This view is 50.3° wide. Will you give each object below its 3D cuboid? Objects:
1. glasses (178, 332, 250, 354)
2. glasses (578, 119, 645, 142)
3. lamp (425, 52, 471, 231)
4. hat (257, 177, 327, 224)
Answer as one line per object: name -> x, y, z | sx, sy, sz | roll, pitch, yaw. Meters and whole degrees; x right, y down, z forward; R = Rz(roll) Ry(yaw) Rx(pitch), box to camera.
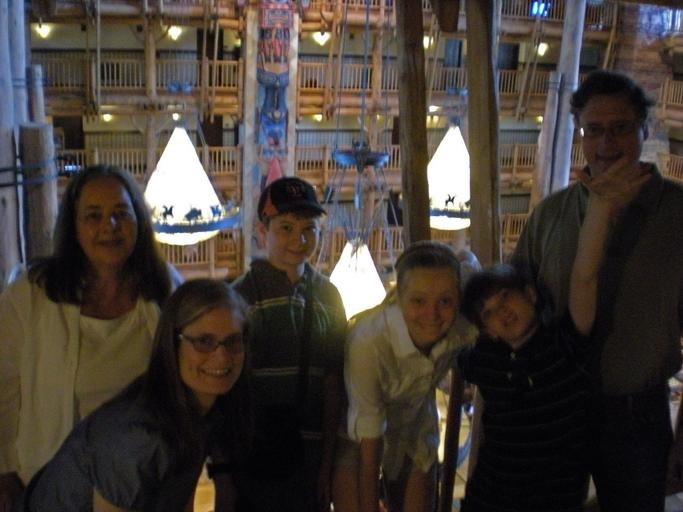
glasses -> -0.514, 0.346, 2.910 | 0.268, 0.095, 0.080 | -4, 5, -18
glasses -> 1.234, -0.564, 3.263 | 0.293, 0.098, 0.134 | -1, 5, 14
lamp -> 0.964, -0.824, 6.217 | 0.378, 0.952, 0.374 | 13, -10, -41
hat -> -0.257, -0.282, 3.669 | 0.299, 0.236, 0.406 | 1, -8, -29
